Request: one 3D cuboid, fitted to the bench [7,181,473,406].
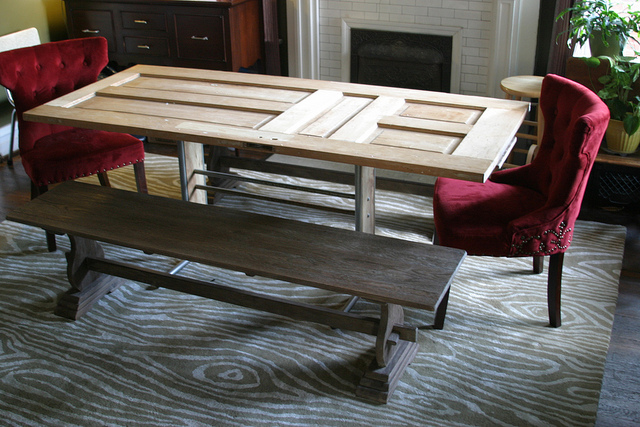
[{"bbox_3d":[-0.474,0.380,2.860,2.364,0.896,0.708,8,27,18],"label":"bench"}]

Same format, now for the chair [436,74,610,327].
[{"bbox_3d":[1.126,-0.279,2.835,0.807,0.921,0.750,5,27,8],"label":"chair"}]

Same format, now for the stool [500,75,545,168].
[{"bbox_3d":[1.698,-0.750,4.220,0.401,0.822,0.876,10,27,17],"label":"stool"}]
